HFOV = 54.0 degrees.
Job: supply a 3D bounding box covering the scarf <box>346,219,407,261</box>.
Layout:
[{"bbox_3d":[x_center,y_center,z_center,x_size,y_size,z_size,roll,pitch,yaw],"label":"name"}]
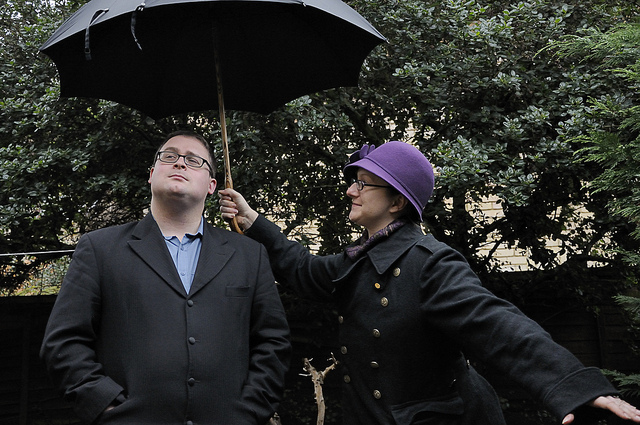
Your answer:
[{"bbox_3d":[0.380,0.174,4.324,0.350,0.157,0.273,-38,16,-6],"label":"scarf"}]
